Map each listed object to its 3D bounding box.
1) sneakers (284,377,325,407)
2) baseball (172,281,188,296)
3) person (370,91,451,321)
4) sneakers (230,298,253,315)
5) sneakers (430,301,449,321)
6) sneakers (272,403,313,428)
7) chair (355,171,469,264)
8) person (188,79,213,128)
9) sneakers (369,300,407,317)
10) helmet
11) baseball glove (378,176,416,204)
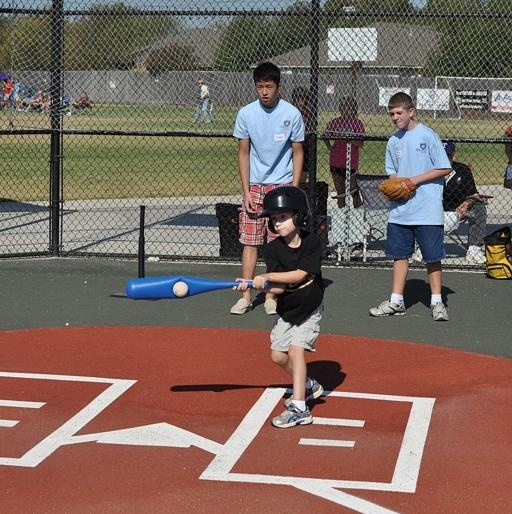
[{"bbox_3d":[0.265,0.777,4.211,0.094,0.125,0.258,-9,8,38],"label":"sneakers"},{"bbox_3d":[-0.394,0.164,3.873,0.070,0.076,0.033,-4,0,-19],"label":"baseball"},{"bbox_3d":[1.253,-0.397,5.968,0.619,1.782,0.398,3,11,14],"label":"person"},{"bbox_3d":[-0.131,0.409,6.197,0.078,0.101,0.225,1,2,25],"label":"sneakers"},{"bbox_3d":[1.473,0.447,5.965,0.078,0.083,0.197,-2,3,6],"label":"sneakers"},{"bbox_3d":[0.187,0.835,3.963,0.233,0.132,0.092,-3,18,-15],"label":"sneakers"},{"bbox_3d":[1.791,-0.518,8.741,1.001,1.512,1.009,-1,5,12],"label":"chair"},{"bbox_3d":[-0.743,-2.042,9.794,0.239,0.789,0.356,21,28,33],"label":"person"},{"bbox_3d":[1.076,0.428,6.147,0.315,0.161,0.122,0,5,-7],"label":"sneakers"},{"bbox_3d":[0.151,-0.253,3.913,0.177,0.196,0.242,-8,-4,36],"label":"helmet"},{"bbox_3d":[1.106,-0.505,5.815,0.223,0.142,0.179,7,-4,-14],"label":"baseball glove"}]
